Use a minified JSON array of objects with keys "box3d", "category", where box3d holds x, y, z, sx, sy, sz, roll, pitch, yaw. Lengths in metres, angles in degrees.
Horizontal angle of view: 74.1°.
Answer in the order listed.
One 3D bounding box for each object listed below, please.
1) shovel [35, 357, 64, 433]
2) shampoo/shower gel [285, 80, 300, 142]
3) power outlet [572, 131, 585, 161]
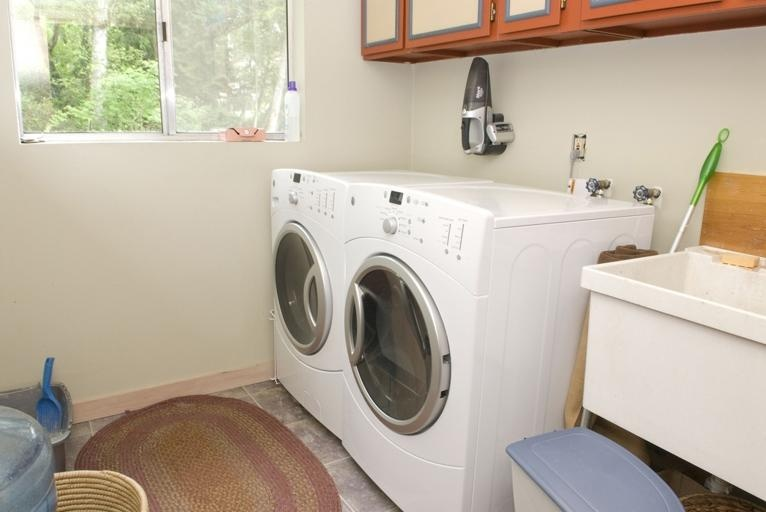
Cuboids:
[{"box3d":[-1.648,0.692,2.503,0.121,0.386,0.068,6,9,-6],"category":"shovel"},{"box3d":[-0.530,-0.858,2.982,0.092,0.343,0.150,0,17,-10],"category":"shampoo/shower gel"},{"box3d":[0.932,-0.536,2.424,0.032,0.108,0.078,2,4,-44],"category":"power outlet"}]
